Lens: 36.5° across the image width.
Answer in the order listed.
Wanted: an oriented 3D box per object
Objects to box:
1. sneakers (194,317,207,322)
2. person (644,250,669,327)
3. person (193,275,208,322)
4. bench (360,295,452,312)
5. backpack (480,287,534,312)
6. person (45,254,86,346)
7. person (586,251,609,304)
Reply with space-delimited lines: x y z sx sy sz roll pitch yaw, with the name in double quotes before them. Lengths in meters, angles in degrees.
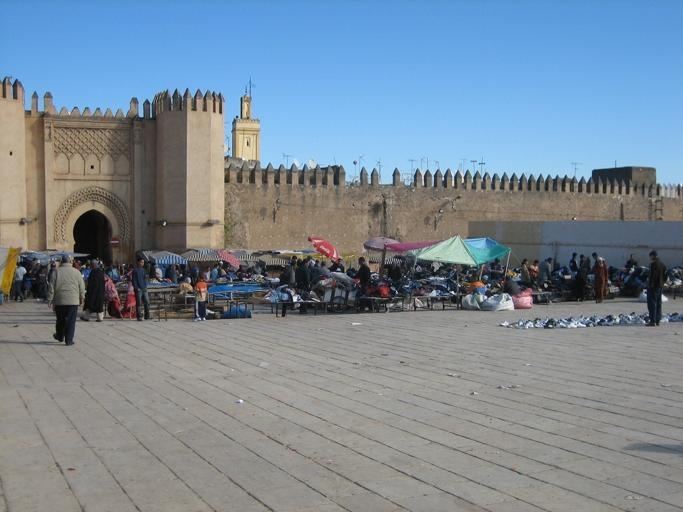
"sneakers" -2.542 1.138 18.468 0.236 0.102 0.085 3 -2 11
"person" 5.122 0.530 16.891 0.249 1.211 0.686 2 7 18
"person" -2.529 0.723 18.556 0.212 0.809 0.603 -1 7 -8
"bench" 1.203 0.898 20.357 1.792 0.294 0.237 -1 10 -24
"backpack" 3.268 0.867 20.187 0.677 0.254 0.477 -3 0 -23
"person" -3.949 0.648 14.835 0.478 1.224 0.747 -2 7 -15
"person" 5.463 0.485 21.896 0.302 1.032 0.897 2 7 14
